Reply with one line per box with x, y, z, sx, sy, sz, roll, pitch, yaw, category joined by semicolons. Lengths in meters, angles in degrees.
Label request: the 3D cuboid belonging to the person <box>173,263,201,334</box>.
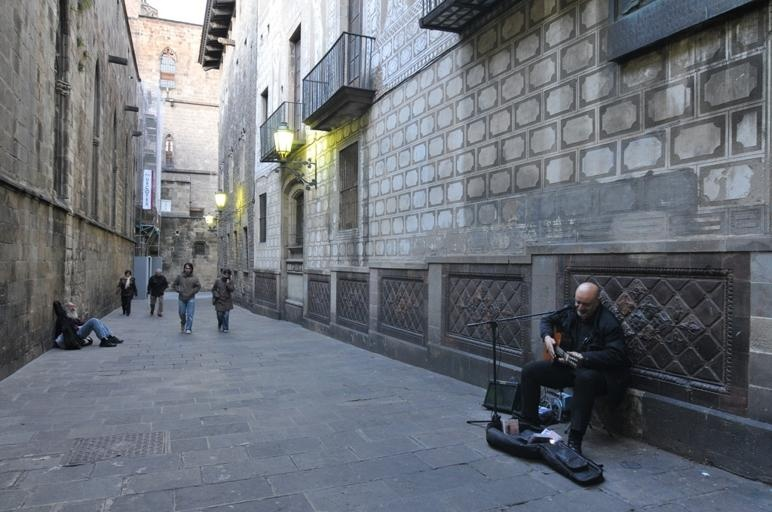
-5.554;1.205;15.354;0.612;1.969;1.202;-3;7;-31;person

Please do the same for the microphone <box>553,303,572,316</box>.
2.246;0.675;7.000;0.172;0.058;0.136;-30;-6;4;microphone

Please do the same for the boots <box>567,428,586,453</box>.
2.133;2.079;6.212;0.162;0.263;0.193;2;6;19;boots

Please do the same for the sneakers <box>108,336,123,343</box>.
-6.469;2.006;13.102;0.103;0.125;0.306;38;3;30;sneakers

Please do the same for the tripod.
1.476;1.525;7.573;1.501;1.607;1.252;-1;-4;25;tripod

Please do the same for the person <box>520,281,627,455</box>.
2.249;1.305;6.643;1.184;1.921;1.078;3;6;30;person

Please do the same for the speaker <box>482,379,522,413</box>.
1.453;1.782;6.962;0.435;0.446;0.239;1;6;12;speaker

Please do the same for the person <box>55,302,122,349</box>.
-6.921;1.647;12.673;1.444;1.075;0.733;1;-4;-25;person

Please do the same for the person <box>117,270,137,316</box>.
-9.255;1.350;19.661;0.469;1.685;1.406;-3;6;-26;person
